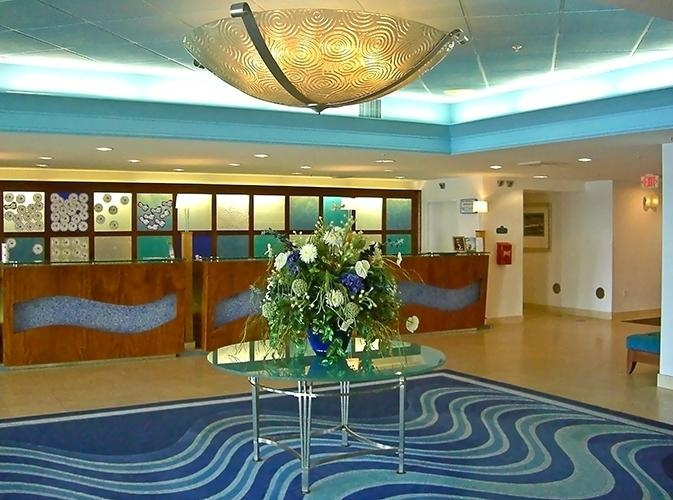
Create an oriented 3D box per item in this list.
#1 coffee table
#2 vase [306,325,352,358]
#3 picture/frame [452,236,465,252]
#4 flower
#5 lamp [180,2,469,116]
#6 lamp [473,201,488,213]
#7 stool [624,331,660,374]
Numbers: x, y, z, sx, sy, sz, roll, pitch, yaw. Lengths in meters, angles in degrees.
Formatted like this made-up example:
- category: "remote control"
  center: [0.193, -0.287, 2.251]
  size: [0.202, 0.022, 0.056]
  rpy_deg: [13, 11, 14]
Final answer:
- category: "coffee table"
  center: [-0.038, 1.124, 4.101]
  size: [1.480, 0.726, 1.439]
  rpy_deg: [-3, 4, -38]
- category: "vase"
  center: [-0.066, 0.735, 4.089]
  size: [0.274, 0.181, 0.263]
  rpy_deg: [0, -2, -3]
- category: "picture/frame"
  center: [2.452, -0.125, 9.971]
  size: [0.329, 0.350, 0.036]
  rpy_deg: [0, 0, -15]
- category: "flower"
  center: [-0.053, 0.366, 4.264]
  size: [1.005, 1.023, 0.927]
  rpy_deg: [7, -7, 41]
- category: "lamp"
  center: [-0.096, -1.125, 3.033]
  size: [1.473, 0.404, 0.854]
  rpy_deg: [-3, 2, -24]
- category: "lamp"
  center: [2.962, -0.885, 10.225]
  size: [0.257, 0.181, 0.257]
  rpy_deg: [-1, 0, 32]
- category: "stool"
  center: [4.204, 1.378, 6.972]
  size: [0.546, 0.434, 0.565]
  rpy_deg: [0, -1, 41]
